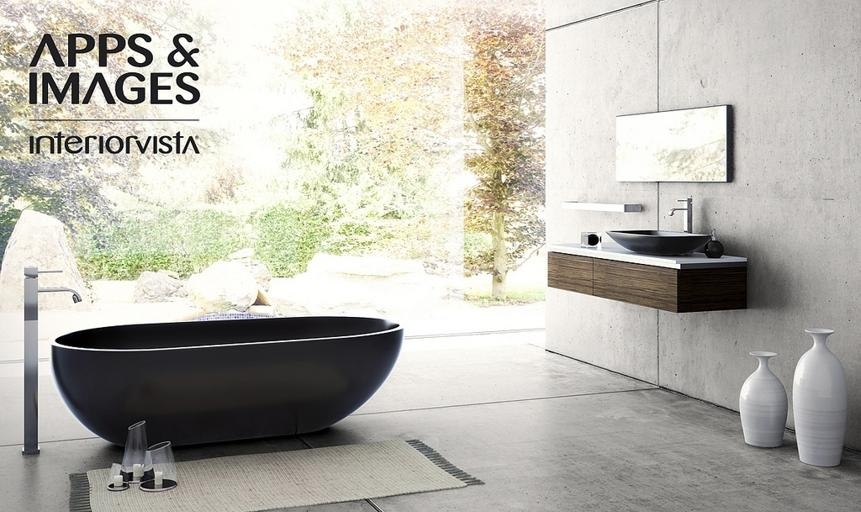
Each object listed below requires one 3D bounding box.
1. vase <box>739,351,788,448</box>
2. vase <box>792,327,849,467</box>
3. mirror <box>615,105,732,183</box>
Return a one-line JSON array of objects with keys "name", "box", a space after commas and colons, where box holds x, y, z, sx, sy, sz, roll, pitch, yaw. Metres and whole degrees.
[{"name": "vase", "box": [2.303, 0.981, 3.905, 0.285, 0.639, 0.202, 3, 8, 23]}, {"name": "vase", "box": [2.511, 0.902, 3.633, 0.251, 0.854, 0.230, -3, 8, -22]}, {"name": "mirror", "box": [2.129, -0.956, 4.968, 0.137, 0.615, 1.201, -15, 15, -26]}]
